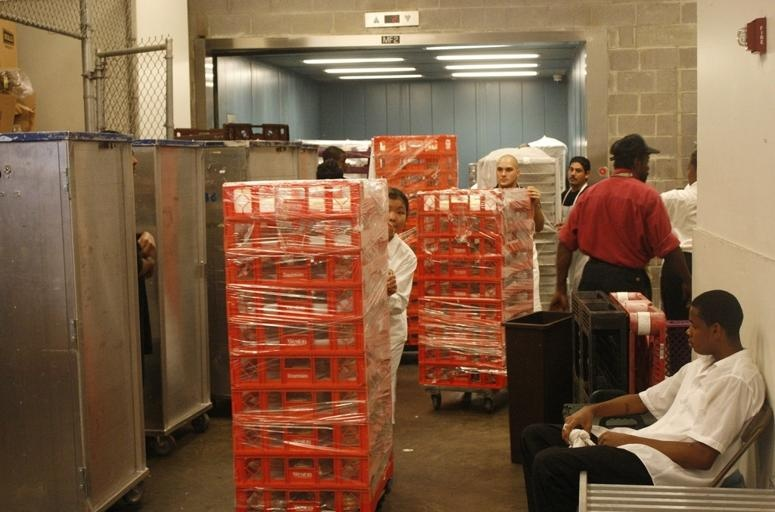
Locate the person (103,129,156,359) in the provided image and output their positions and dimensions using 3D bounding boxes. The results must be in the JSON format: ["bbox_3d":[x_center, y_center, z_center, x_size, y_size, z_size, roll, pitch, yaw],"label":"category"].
[{"bbox_3d":[-2.061,-0.066,7.092,0.264,1.915,0.712,-2,11,-9],"label":"person"}]

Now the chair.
[{"bbox_3d":[1.852,1.103,5.611,1.154,0.448,0.518,7,13,32],"label":"chair"}]
